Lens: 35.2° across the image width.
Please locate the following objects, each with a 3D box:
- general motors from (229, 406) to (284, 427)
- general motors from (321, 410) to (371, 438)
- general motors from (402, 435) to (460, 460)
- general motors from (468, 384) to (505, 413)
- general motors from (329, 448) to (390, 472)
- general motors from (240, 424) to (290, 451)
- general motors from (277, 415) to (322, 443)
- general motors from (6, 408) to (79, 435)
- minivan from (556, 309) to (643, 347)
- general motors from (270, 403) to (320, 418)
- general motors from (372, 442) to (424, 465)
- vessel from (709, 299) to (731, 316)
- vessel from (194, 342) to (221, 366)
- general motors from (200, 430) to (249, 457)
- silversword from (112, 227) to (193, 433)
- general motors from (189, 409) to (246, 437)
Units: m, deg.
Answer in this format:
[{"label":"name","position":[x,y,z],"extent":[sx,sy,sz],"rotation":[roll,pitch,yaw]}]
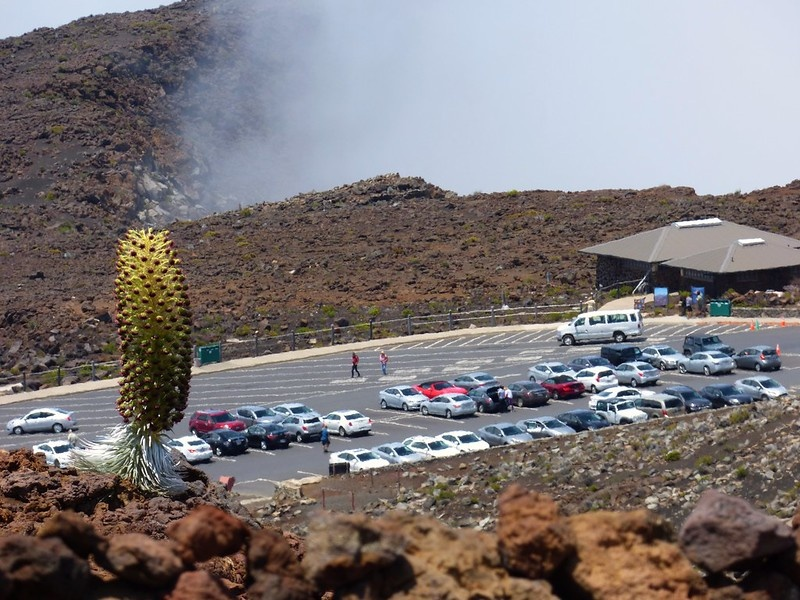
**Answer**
[{"label":"general motors","position":[-7.626,6.142,67.171],"extent":[2.445,0.828,1.072],"rotation":[0,8,38]},{"label":"general motors","position":[-2.975,6.383,65.864],"extent":[1.183,0.778,2.392],"rotation":[-7,11,-43]},{"label":"general motors","position":[1.456,6.865,59.212],"extent":[1.007,0.708,2.125],"rotation":[-12,8,-43]},{"label":"general motors","position":[4.720,5.318,67.594],"extent":[0.992,0.682,2.137],"rotation":[-7,11,-21]},{"label":"general motors","position":[-1.938,7.372,58.404],"extent":[2.413,0.793,1.143],"rotation":[-3,6,42]},{"label":"general motors","position":[-6.740,6.944,64.712],"extent":[2.005,0.886,1.168],"rotation":[10,13,37]},{"label":"general motors","position":[-5.250,6.567,65.858],"extent":[2.018,0.951,1.236],"rotation":[10,11,43]},{"label":"general motors","position":[-19.540,6.590,69.443],"extent":[3.342,1.083,1.519],"rotation":[1,2,0]},{"label":"minivan","position":[12.824,1.790,80.995],"extent":[5.029,2.031,2.292],"rotation":[1,6,14]},{"label":"general motors","position":[-5.656,5.789,67.072],"extent":[2.065,0.735,1.010],"rotation":[-6,5,29]},{"label":"general motors","position":[-0.128,7.094,58.805],"extent":[0.931,0.622,1.901],"rotation":[-7,7,-42]},{"label":"vessel","position":[21.509,0.453,84.784],"extent":[1.602,1.356,0.965],"rotation":[0,2,33]},{"label":"vessel","position":[-13.072,3.650,86.503],"extent":[1.653,1.256,1.519],"rotation":[-8,8,-8]},{"label":"general motors","position":[-8.893,7.224,64.319],"extent":[2.174,0.699,1.023],"rotation":[6,8,42]},{"label":"silversword","position":[-6.844,0.956,34.831],"extent":[1.851,6.025,1.568],"rotation":[-2,-3,-24]},{"label":"general motors","position":[-9.740,6.428,66.806],"extent":[2.855,1.234,1.399],"rotation":[-2,3,34]}]
